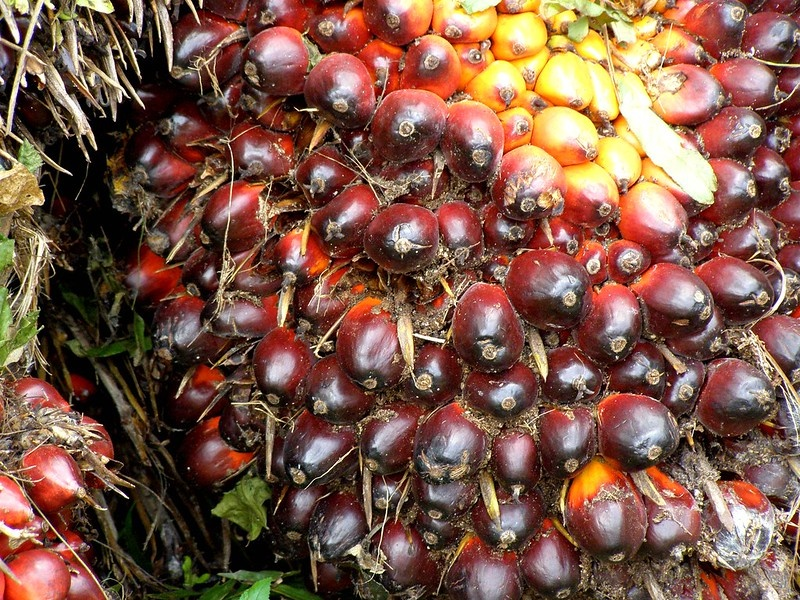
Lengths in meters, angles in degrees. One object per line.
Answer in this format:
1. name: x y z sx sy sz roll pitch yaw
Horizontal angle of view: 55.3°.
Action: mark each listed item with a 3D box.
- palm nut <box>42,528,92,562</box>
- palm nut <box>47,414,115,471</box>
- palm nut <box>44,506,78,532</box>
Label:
1. palm nut: -1.075 0.810 2.474 0.092 0.117 0.071 17 98 -33
2. palm nut: -1.049 0.471 2.527 0.094 0.123 0.163 -42 91 -19
3. palm nut: -1.102 0.707 2.493 0.056 0.094 0.076 24 31 39
